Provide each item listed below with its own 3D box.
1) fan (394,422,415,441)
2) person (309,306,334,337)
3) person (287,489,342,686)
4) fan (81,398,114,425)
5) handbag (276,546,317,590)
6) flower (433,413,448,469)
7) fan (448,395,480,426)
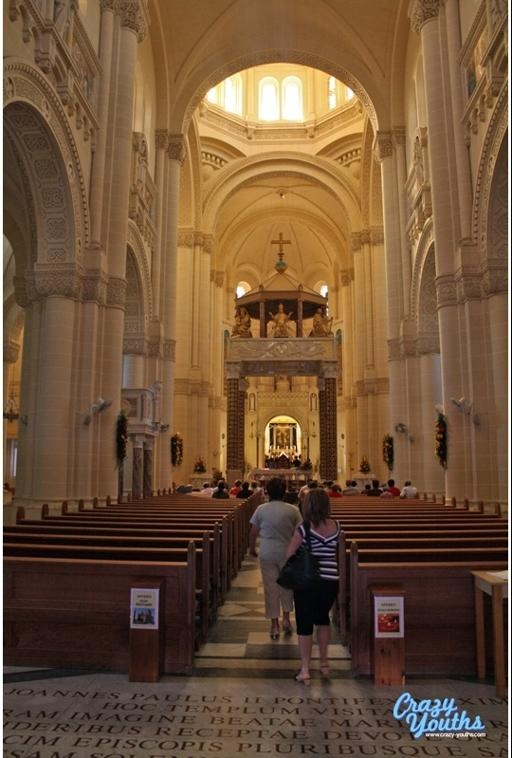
[{"bbox_3d":[4.452,1.607,17.511,0.359,0.550,0.890,2,-1,-11],"label":"fan"},{"bbox_3d":[3.132,-2.701,27.812,0.810,1.459,1.658,2,-1,0],"label":"person"},{"bbox_3d":[0.406,1.499,4.230,0.364,1.411,0.479,1,-2,7],"label":"person"},{"bbox_3d":[-3.231,0.702,11.877,0.644,0.521,0.267,3,-2,-30],"label":"fan"},{"bbox_3d":[0.292,1.360,4.130,0.300,0.310,0.088,1,-2,33],"label":"handbag"},{"bbox_3d":[3.888,1.306,12.320,0.242,1.164,0.214,-8,21,10],"label":"flower"},{"bbox_3d":[4.036,0.600,11.243,0.160,0.457,0.480,-6,25,-8],"label":"fan"}]
